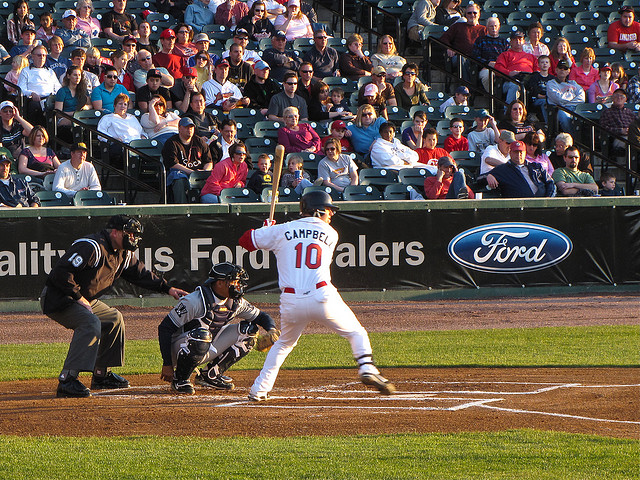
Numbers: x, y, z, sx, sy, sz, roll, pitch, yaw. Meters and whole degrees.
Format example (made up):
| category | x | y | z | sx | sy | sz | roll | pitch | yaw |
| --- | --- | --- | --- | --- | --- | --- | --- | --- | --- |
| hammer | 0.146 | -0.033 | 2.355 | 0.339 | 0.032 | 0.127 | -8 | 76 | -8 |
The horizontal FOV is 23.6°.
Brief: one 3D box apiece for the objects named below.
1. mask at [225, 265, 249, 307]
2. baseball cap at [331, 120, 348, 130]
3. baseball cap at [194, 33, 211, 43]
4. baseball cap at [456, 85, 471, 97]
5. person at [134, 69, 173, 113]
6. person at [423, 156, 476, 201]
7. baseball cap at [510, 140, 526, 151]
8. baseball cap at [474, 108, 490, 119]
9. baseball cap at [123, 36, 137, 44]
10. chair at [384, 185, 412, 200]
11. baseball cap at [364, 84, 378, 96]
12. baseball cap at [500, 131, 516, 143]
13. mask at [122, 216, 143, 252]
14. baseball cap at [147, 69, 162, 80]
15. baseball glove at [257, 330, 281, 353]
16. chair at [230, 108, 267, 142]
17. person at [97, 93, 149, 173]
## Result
| category | x | y | z | sx | sy | sz | roll | pitch | yaw |
| --- | --- | --- | --- | --- | --- | --- | --- | --- | --- |
| mask | -1.192 | 0.724 | 21.747 | 0.303 | 0.636 | 0.288 | -2 | 13 | -8 |
| baseball cap | 0.354 | -2.106 | 28.644 | 0.214 | 0.154 | 0.343 | 4 | 10 | 1 |
| baseball cap | -2.349 | -3.958 | 30.197 | 0.273 | 0.169 | 0.365 | -1 | 13 | -4 |
| baseball cap | 2.882 | -2.973 | 30.753 | 0.227 | 0.125 | 0.159 | 12 | 9 | 34 |
| person | -3.250 | -2.772 | 28.755 | 0.710 | 0.933 | 0.847 | 2 | -3 | -21 |
| person | 2.414 | -1.025 | 27.942 | 0.618 | 0.691 | 1.075 | -10 | 0 | -12 |
| baseball cap | 3.597 | -1.663 | 27.773 | 0.250 | 0.171 | 0.239 | 1 | 13 | 7 |
| baseball cap | 3.106 | -2.389 | 29.223 | 0.206 | 0.152 | 0.281 | 1 | -1 | -12 |
| baseball cap | -3.721 | -3.865 | 29.786 | 0.245 | 0.137 | 0.314 | -1 | 13 | -6 |
| chair | 1.440 | -0.821 | 28.259 | 0.321 | 0.407 | 0.339 | 0 | 12 | -8 |
| baseball cap | 0.999 | -2.853 | 29.443 | 0.302 | 0.215 | 0.210 | -5 | 14 | -20 |
| baseball cap | 3.466 | -1.864 | 28.278 | 0.180 | 0.130 | 0.247 | 0 | 13 | -29 |
| mask | -2.651 | -0.027 | 21.744 | 0.431 | 0.421 | 0.342 | -3 | 0 | 10 |
| baseball cap | -3.117 | -3.071 | 28.683 | 0.246 | 0.180 | 0.282 | -1 | 13 | -6 |
| baseball glove | -0.700 | 1.494 | 21.466 | 0.128 | 0.349 | 0.254 | 47 | -6 | -29 |
| chair | -1.393 | -2.082 | 29.224 | 0.770 | 0.863 | 0.671 | -1 | 7 | -11 |
| person | -3.659 | -2.033 | 28.152 | 0.792 | 1.232 | 0.918 | 9 | 16 | 34 |
